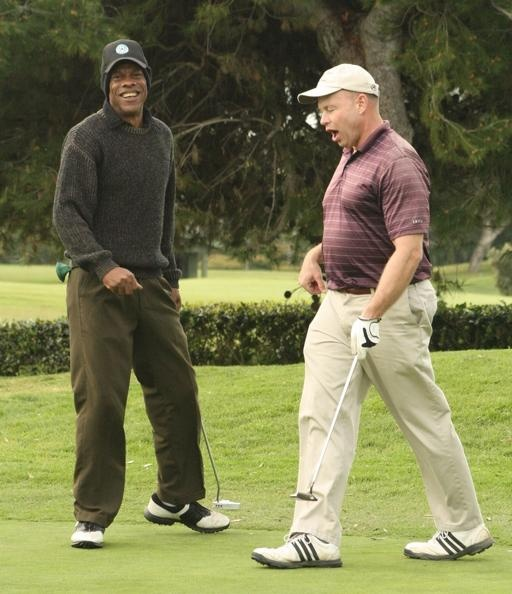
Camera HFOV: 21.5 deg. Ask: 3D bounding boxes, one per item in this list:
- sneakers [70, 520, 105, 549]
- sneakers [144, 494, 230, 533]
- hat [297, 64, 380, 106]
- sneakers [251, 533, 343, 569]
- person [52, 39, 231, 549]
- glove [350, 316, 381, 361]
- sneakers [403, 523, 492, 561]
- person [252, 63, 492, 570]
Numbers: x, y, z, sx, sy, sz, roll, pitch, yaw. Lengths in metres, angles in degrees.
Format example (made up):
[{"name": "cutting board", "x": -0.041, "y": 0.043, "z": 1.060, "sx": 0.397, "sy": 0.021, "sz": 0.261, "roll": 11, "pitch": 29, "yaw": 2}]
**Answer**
[{"name": "sneakers", "x": -0.809, "y": 1.147, "z": 6.507, "sx": 0.155, "sy": 0.114, "sz": 0.183, "roll": -1, "pitch": 5, "yaw": -7}, {"name": "sneakers", "x": -0.361, "y": 1.133, "z": 6.965, "sx": 0.423, "sy": 0.213, "sz": 0.190, "roll": 7, "pitch": 6, "yaw": -8}, {"name": "hat", "x": 0.412, "y": -1.012, "z": 6.452, "sx": 0.293, "sy": 0.160, "sz": 0.194, "roll": 3, "pitch": 0, "yaw": 4}, {"name": "sneakers", "x": 0.197, "y": 1.186, "z": 6.285, "sx": 0.417, "sy": 0.216, "sz": 0.164, "roll": 6, "pitch": -15, "yaw": -8}, {"name": "person", "x": -0.643, "y": -0.014, "z": 6.738, "sx": 0.840, "sy": 2.524, "sz": 0.461, "roll": -4, "pitch": 6, "yaw": -38}, {"name": "glove", "x": 0.500, "y": 0.174, "z": 6.207, "sx": 0.137, "sy": 0.277, "sz": 0.211, "roll": 1, "pitch": 2, "yaw": 4}, {"name": "sneakers", "x": 0.908, "y": 1.170, "z": 6.442, "sx": 0.401, "sy": 0.216, "sz": 0.163, "roll": -7, "pitch": -5, "yaw": 8}, {"name": "person", "x": 0.539, "y": 0.069, "z": 6.357, "sx": 0.977, "sy": 2.327, "sz": 0.629, "roll": 0, "pitch": 5, "yaw": 1}]
